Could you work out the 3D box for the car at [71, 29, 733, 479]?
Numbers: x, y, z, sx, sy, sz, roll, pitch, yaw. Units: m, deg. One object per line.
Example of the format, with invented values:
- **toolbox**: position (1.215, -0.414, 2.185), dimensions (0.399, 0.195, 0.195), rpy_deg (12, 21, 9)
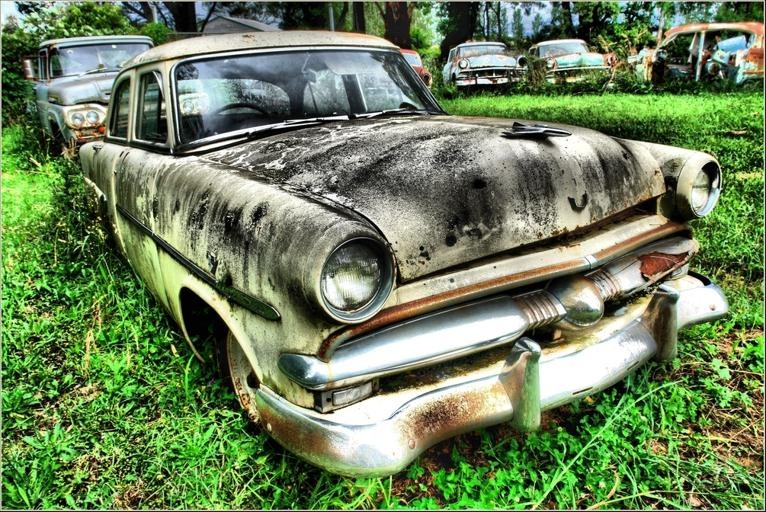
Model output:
- **car**: position (-0.572, -0.332, 3.915), dimensions (2.420, 1.341, 4.063), rpy_deg (-16, 28, -35)
